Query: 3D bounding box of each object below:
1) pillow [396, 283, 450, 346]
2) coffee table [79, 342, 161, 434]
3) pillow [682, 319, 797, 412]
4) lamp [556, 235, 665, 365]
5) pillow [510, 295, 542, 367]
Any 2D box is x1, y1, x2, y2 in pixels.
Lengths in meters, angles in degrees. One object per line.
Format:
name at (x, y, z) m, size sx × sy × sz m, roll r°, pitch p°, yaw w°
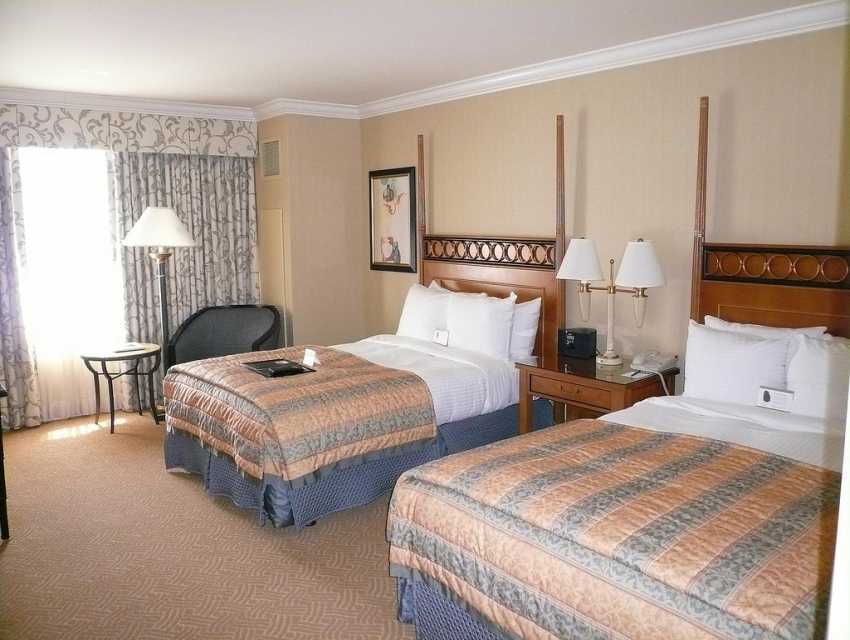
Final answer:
pillow at (0.035, -0.063, 5.551) m, size 0.159 × 0.500 × 0.526 m, roll 20°, pitch -8°, yaw -42°
coffee table at (-3.069, 0.712, 6.132) m, size 0.946 × 0.968 × 0.940 m, roll -5°, pitch 11°, yaw -26°
pillow at (1.929, 0.291, 3.488) m, size 0.183 × 0.393 × 0.520 m, roll 26°, pitch -12°, yaw -35°
lamp at (1.504, -0.156, 4.533) m, size 0.412 × 1.007 × 1.006 m, roll -6°, pitch 8°, yaw -41°
pillow at (0.876, 0.100, 4.974) m, size 0.297 × 0.505 × 0.567 m, roll -12°, pitch 0°, yaw -2°
